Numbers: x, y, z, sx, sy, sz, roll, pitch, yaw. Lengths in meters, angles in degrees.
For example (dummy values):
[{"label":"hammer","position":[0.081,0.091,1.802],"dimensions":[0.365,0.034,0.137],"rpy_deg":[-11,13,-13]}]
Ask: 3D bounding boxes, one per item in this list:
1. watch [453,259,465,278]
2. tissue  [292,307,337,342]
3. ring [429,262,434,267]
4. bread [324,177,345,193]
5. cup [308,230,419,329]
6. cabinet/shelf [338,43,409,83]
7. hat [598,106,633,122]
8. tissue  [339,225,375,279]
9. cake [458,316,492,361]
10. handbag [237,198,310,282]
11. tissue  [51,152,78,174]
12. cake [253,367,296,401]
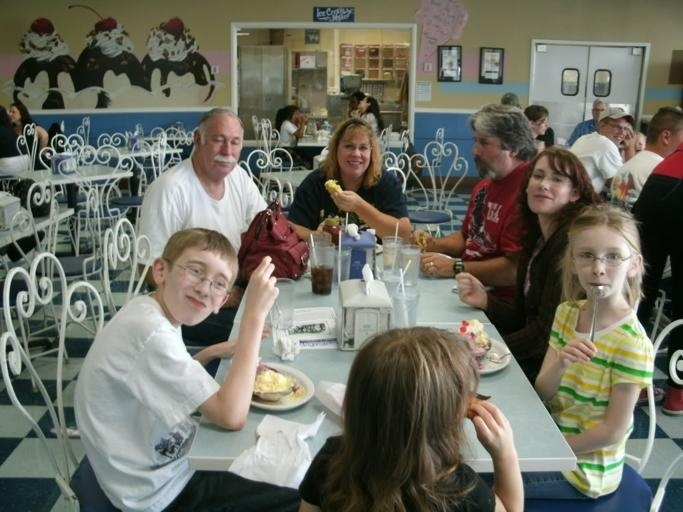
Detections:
[{"label":"watch","position":[0.556,0.064,2.673],"dimensions":[0.055,0.081,0.078],"rpy_deg":[3,4,5]},{"label":"tissue ","position":[-0.107,0.261,2.105],"dimensions":[0.118,0.029,0.122],"rpy_deg":[-3,22,-11]},{"label":"ring","position":[0.439,0.041,2.683],"dimensions":[0.016,0.016,0.028],"rpy_deg":[4,1,13]},{"label":"bread","position":[-0.043,-0.368,2.895],"dimensions":[0.086,0.052,0.108],"rpy_deg":[36,11,-6]},{"label":"cup","position":[0.116,0.072,2.236],"dimensions":[0.391,0.413,0.311],"rpy_deg":[-4,17,-9]},{"label":"cabinet/shelf","position":[0.729,-4.457,12.488],"dimensions":[1.545,0.825,0.287],"rpy_deg":[1,13,3]},{"label":"hat","position":[2.557,-1.374,5.173],"dimensions":[0.182,0.127,0.245],"rpy_deg":[0,11,-12]},{"label":"tissue ","position":[0.078,-0.026,2.439],"dimensions":[0.202,0.264,0.178],"rpy_deg":[2,15,0]},{"label":"cake","position":[0.474,0.287,1.927],"dimensions":[0.112,0.072,0.129],"rpy_deg":[3,9,4]},{"label":"handbag","position":[-0.321,-0.109,2.694],"dimensions":[0.326,0.320,0.415],"rpy_deg":[0,8,6]},{"label":"tissue ","position":[-2.494,-0.837,4.988],"dimensions":[0.233,0.224,0.214],"rpy_deg":[-10,20,-40]},{"label":"cake","position":[-0.211,0.400,1.698],"dimensions":[0.088,0.036,0.108],"rpy_deg":[3,15,-4]}]
